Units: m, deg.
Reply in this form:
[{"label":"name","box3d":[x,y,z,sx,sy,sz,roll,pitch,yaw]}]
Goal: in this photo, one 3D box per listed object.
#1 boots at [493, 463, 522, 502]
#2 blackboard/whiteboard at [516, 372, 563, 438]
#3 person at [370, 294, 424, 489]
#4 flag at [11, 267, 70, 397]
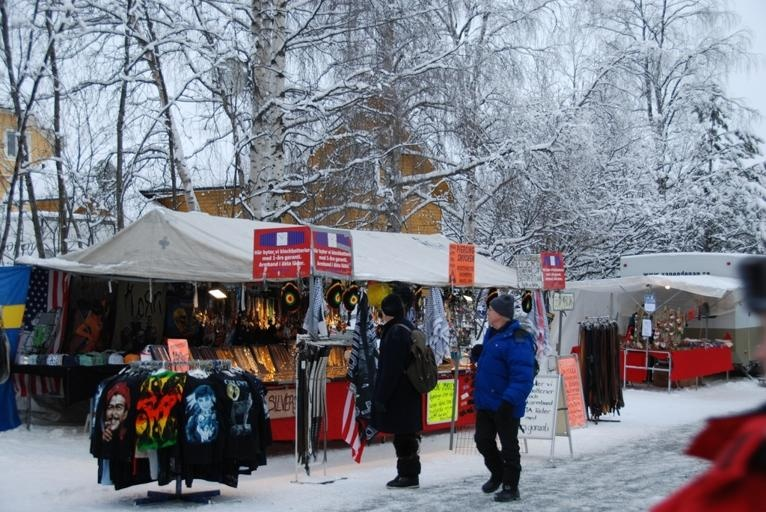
[{"label":"boots","box3d":[2.082,3.741,14.504,0.469,0.604,0.311,1,3,-5]},{"label":"blackboard/whiteboard","box3d":[3.099,2.973,17.217,0.848,1.190,0.666,-1,-1,29]},{"label":"person","box3d":[0.338,2.343,15.262,1.006,2.993,1.101,2,-3,18]},{"label":"flag","box3d":[-7.100,1.344,18.305,0.954,2.765,1.031,20,1,-20]}]
